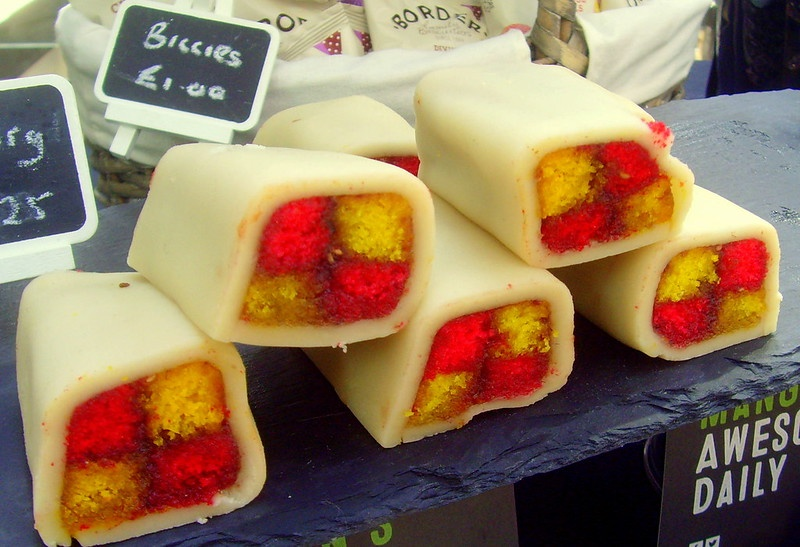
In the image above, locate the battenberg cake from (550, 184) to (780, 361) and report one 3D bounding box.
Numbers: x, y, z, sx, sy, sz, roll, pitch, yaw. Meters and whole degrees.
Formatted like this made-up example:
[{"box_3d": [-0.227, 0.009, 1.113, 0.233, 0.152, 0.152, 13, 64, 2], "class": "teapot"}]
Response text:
[{"box_3d": [0.546, -0.006, 1.471, 0.359, 0.251, 0.354, -11, 20, -16], "class": "battenberg cake"}]
